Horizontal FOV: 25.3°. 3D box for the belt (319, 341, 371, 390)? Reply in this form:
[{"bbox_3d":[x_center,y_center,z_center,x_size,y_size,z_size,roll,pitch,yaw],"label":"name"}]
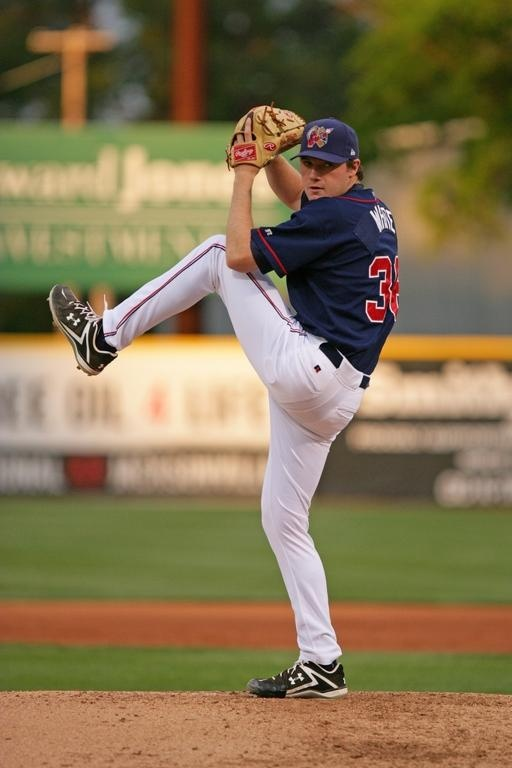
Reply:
[{"bbox_3d":[0.235,-0.073,3.347,0.040,0.148,0.127,-38,-30,10],"label":"belt"}]

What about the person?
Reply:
[{"bbox_3d":[-0.048,0.066,3.464,0.935,1.823,0.389,0,-2,5],"label":"person"}]

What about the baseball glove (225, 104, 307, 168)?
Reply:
[{"bbox_3d":[0.017,-0.751,3.480,0.263,0.162,0.110,-21,5,3],"label":"baseball glove"}]

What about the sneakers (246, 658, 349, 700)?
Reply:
[{"bbox_3d":[0.135,0.921,3.534,0.331,0.112,0.109,1,-14,3],"label":"sneakers"}]

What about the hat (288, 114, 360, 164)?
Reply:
[{"bbox_3d":[0.207,-0.720,3.386,0.132,0.090,0.179,12,15,30],"label":"hat"}]
